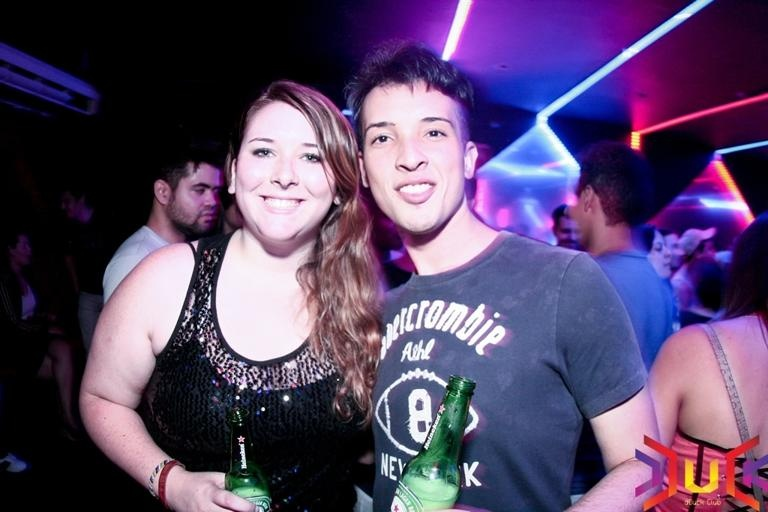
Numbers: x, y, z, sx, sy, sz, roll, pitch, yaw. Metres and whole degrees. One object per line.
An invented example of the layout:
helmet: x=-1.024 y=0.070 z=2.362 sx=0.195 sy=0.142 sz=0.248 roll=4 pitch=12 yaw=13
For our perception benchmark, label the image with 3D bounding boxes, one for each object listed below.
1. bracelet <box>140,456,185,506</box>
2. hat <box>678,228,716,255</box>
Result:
bracelet: x=-1.452 y=1.462 z=3.725 sx=0.094 sy=0.258 sz=0.227 roll=19 pitch=-17 yaw=-39
hat: x=4.088 y=-0.177 z=7.417 sx=0.452 sy=0.133 sz=0.285 roll=-34 pitch=18 yaw=-3
